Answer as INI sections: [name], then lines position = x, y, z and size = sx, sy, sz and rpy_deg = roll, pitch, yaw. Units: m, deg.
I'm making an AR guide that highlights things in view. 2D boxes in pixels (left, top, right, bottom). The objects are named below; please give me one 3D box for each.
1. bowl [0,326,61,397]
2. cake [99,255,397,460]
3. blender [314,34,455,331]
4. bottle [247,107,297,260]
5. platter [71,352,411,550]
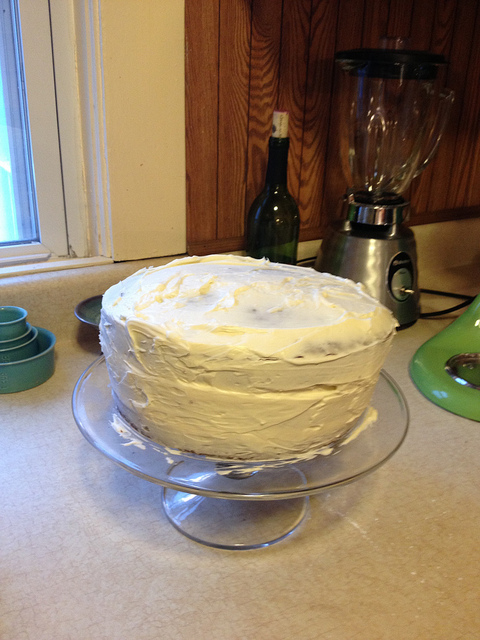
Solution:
[bowl]
position = -0.280, 0.053, 0.739
size = 0.074, 0.029, 0.082
rpy_deg = -1, 17, 0
[cake]
position = 0.003, 0.025, 0.492
size = 0.233, 0.121, 0.224
rpy_deg = -8, 22, -24
[blender]
position = 0.248, -0.226, 0.978
size = 0.262, 0.452, 0.239
rpy_deg = -10, 21, -28
[bottle]
position = 0.061, -0.201, 0.876
size = 0.078, 0.231, 0.085
rpy_deg = 1, 22, -1
[platter]
position = 0.017, 0.097, 0.512
size = 0.255, 0.091, 0.258
rpy_deg = -11, -13, 31
